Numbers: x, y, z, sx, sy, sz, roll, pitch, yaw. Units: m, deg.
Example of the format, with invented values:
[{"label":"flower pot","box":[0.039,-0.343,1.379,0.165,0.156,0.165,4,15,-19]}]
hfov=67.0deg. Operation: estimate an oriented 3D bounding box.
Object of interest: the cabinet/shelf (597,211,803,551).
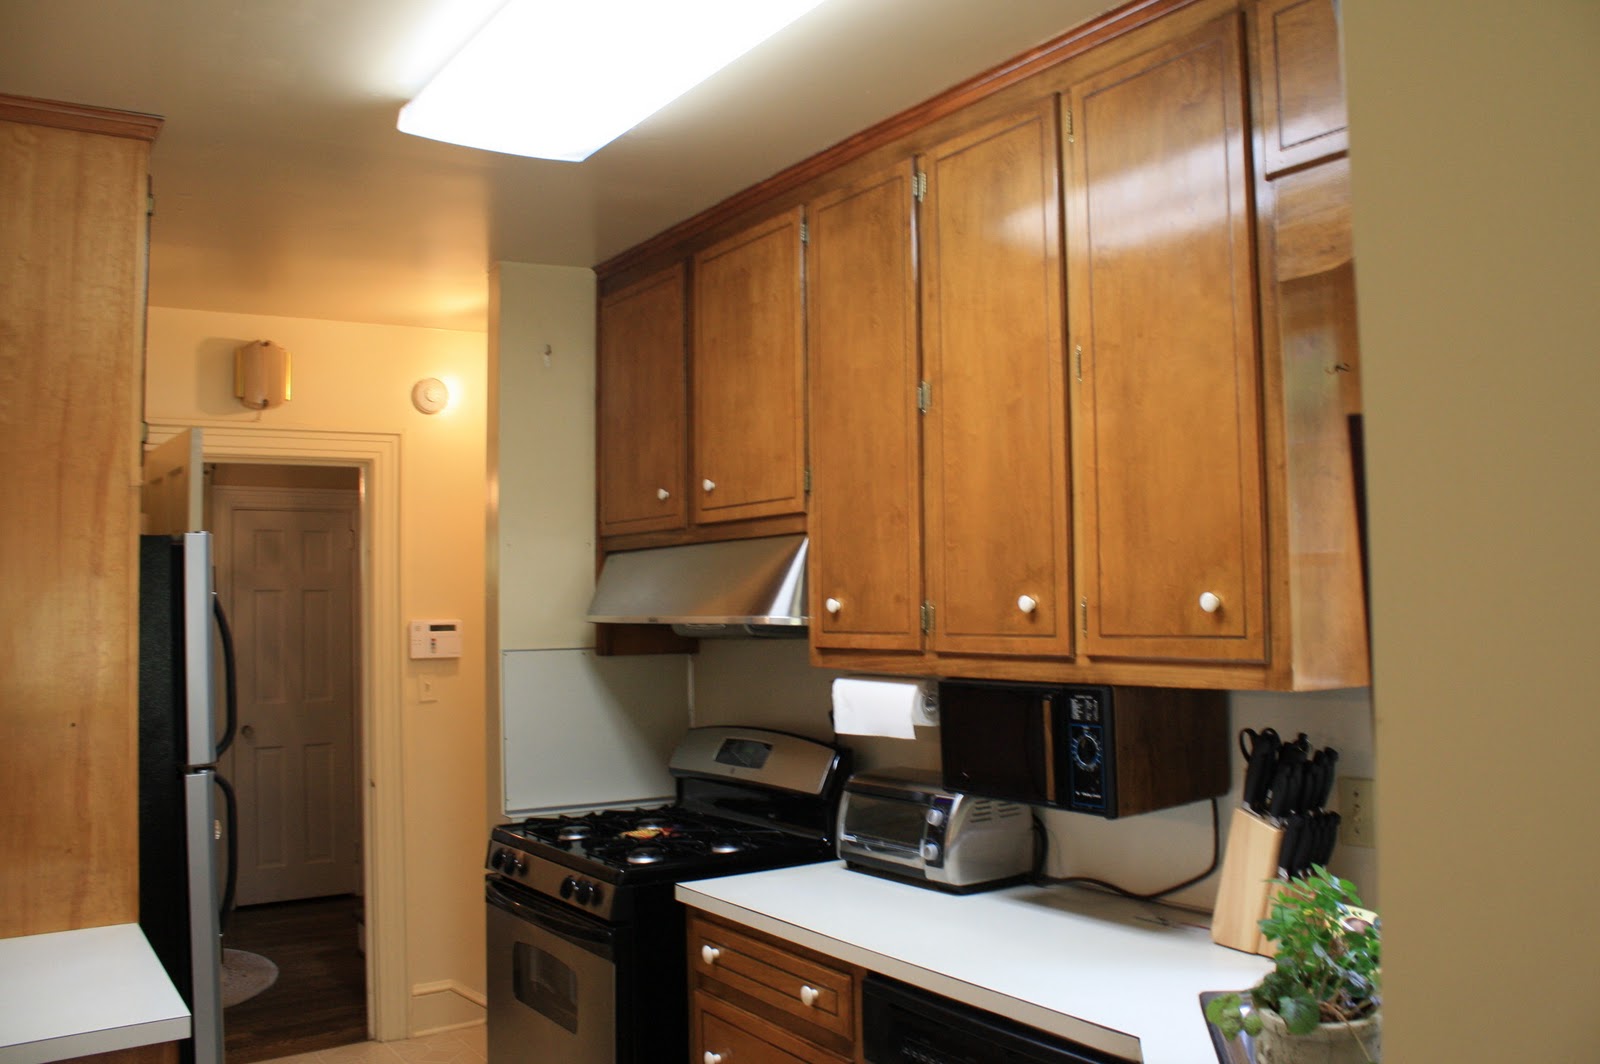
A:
[{"label":"cabinet/shelf","box":[-0.277,-0.445,3.529,0.332,0.774,0.916,7,-11,-39]}]

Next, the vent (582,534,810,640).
[{"label":"vent","box":[-0.330,0.143,3.529,0.272,0.253,1.056,2,-2,-28]}]

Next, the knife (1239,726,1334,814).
[{"label":"knife","box":[0.960,0.482,2.429,0.133,0.176,0.189,11,-10,-41]}]

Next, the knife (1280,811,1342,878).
[{"label":"knife","box":[1.012,0.608,2.373,0.168,0.123,0.065,2,-3,-40]}]

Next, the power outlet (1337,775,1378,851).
[{"label":"power outlet","box":[1.099,0.556,2.406,0.014,0.141,0.068,2,-3,-43]}]
